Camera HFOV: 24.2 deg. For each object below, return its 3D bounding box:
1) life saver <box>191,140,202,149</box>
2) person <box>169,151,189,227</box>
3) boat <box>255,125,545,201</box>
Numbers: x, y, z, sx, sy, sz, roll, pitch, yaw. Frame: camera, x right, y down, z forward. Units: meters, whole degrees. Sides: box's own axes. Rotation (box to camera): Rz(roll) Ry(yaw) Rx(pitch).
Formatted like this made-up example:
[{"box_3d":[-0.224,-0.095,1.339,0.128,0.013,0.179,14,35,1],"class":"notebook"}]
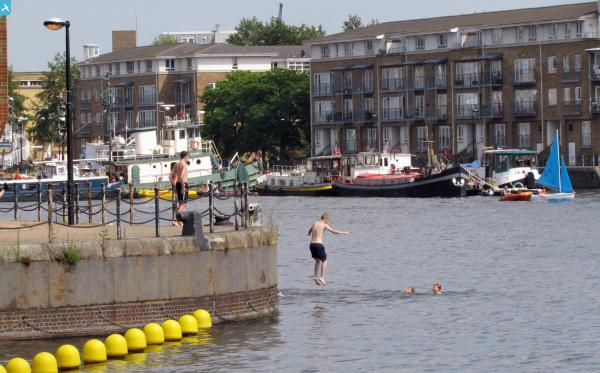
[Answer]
[{"box_3d":[-8.700,-3.370,115.645,0.625,0.526,1.112,-3,2,23],"class":"life saver"},{"box_3d":[-6.292,0.171,71.522,1.122,3.825,1.179,0,-1,-4],"class":"person"},{"box_3d":[7.769,-0.886,117.193,22.063,4.050,6.929,-3,2,25],"class":"boat"}]
